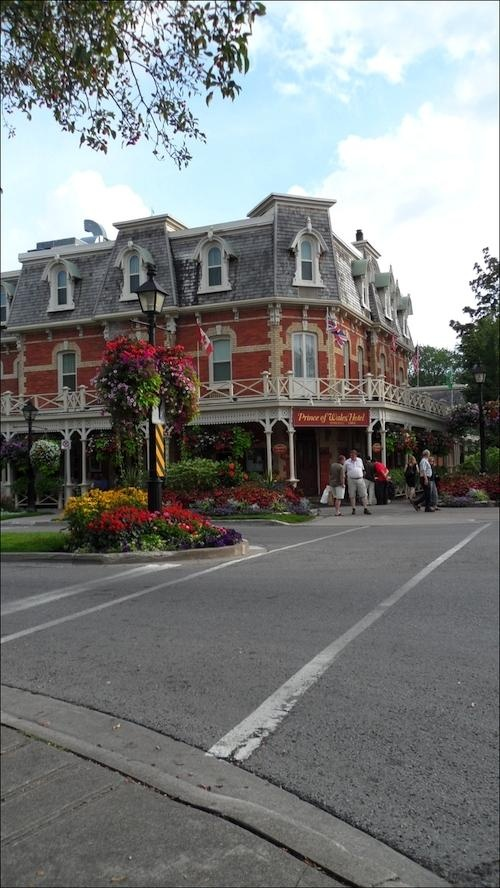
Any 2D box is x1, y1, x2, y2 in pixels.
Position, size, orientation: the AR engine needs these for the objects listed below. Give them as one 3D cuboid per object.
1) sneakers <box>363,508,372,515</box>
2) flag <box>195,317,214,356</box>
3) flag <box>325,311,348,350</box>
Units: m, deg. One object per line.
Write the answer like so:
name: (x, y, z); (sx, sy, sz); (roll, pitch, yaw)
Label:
sneakers: (3.400, 1.939, 19.934); (0.104, 0.230, 0.308); (-2, -5, -15)
flag: (-1.776, -4.345, 26.746); (0.653, 1.652, 2.277); (-1, -3, -4)
flag: (3.376, -4.518, 27.311); (1.276, 0.983, 0.181); (-40, 3, -25)
